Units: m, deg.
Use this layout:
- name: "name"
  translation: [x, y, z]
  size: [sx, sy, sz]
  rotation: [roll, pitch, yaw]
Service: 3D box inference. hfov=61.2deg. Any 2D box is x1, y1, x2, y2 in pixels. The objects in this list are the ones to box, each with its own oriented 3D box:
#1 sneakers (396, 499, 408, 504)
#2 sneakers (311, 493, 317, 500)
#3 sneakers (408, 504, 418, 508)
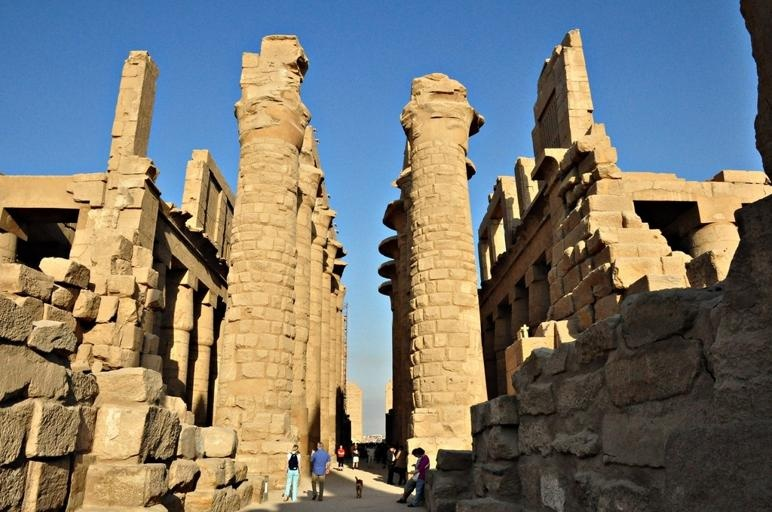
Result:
- name: "sneakers"
  translation: [0.288, 4.574, 12.090]
  size: [0.220, 0.086, 0.078]
  rotation: [8, -11, 3]
- name: "sneakers"
  translation: [-1.437, 4.787, 12.942]
  size: [0.119, 0.135, 0.118]
  rotation: [4, -6, -19]
- name: "sneakers"
  translation: [0.465, 4.420, 11.511]
  size: [0.175, 0.073, 0.085]
  rotation: [3, -18, 7]
